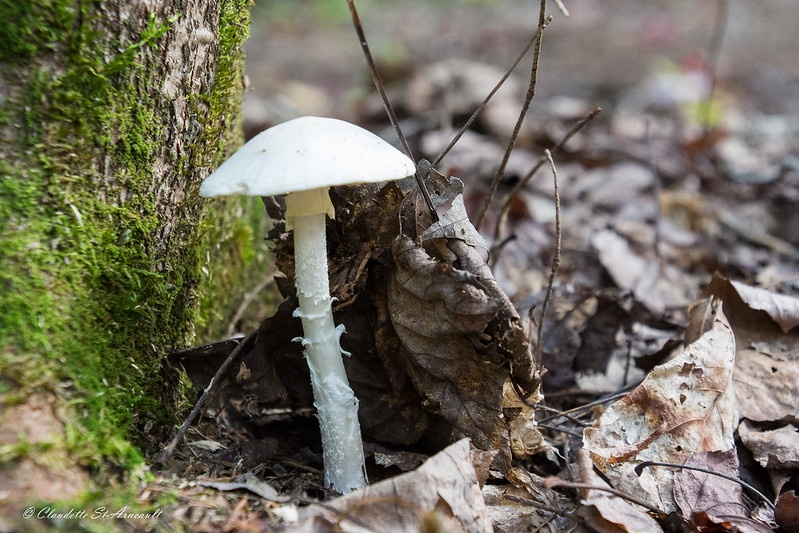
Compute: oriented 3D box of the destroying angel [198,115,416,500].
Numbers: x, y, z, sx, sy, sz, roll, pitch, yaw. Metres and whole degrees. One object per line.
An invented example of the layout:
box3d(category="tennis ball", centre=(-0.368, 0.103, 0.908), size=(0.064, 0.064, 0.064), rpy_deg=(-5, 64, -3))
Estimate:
box3d(category="destroying angel", centre=(-0.569, 0.230, 4.840), size=(1.383, 2.230, 1.323), rpy_deg=(-5, 8, 1))
